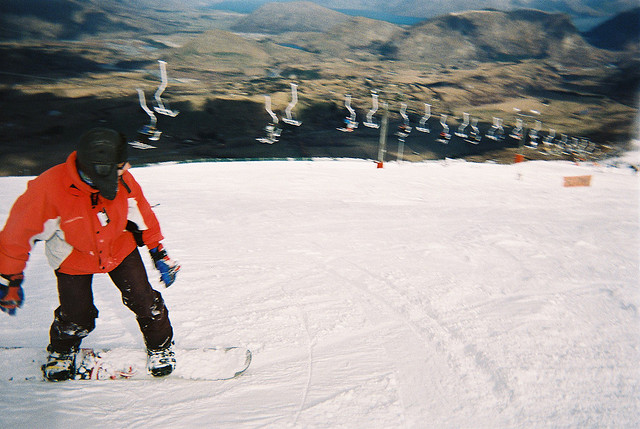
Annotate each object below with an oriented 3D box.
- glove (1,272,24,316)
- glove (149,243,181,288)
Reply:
[{"bbox_3d":[-5.748,1.466,10.091,0.411,0.814,0.191,-2,18,-20],"label":"glove"},{"bbox_3d":[-3.046,0.966,10.565,0.428,0.830,0.321,14,19,34],"label":"glove"}]
